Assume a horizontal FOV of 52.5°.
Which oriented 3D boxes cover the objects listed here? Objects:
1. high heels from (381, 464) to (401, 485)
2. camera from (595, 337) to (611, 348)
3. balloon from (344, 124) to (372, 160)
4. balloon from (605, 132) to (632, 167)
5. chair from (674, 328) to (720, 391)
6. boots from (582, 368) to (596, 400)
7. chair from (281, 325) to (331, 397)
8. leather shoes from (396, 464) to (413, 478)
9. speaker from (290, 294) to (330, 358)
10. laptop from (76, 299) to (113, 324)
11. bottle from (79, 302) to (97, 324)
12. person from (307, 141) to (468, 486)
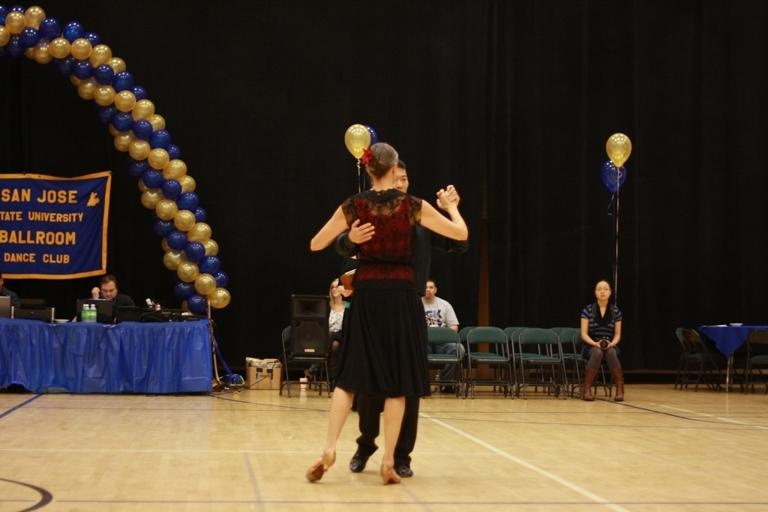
[{"bbox_3d":[0.060,1.929,6.978,0.171,0.179,0.139,0,-7,4],"label":"high heels"},{"bbox_3d":[3.427,1.330,12.096,0.214,0.155,0.158,3,-8,-13],"label":"camera"},{"bbox_3d":[-0.386,-1.700,11.786,0.409,0.615,0.430,0,2,1],"label":"balloon"},{"bbox_3d":[3.961,-1.784,13.178,0.436,0.584,0.441,4,5,43],"label":"balloon"},{"bbox_3d":[5.616,1.792,13.727,0.774,1.009,0.780,-1,-4,31],"label":"chair"},{"bbox_3d":[3.168,1.950,12.015,0.190,0.484,0.375,-2,-8,20],"label":"boots"},{"bbox_3d":[-1.204,1.623,12.263,0.771,1.291,0.999,1,-17,-2],"label":"chair"},{"bbox_3d":[0.194,1.961,7.174,0.081,0.064,0.148,0,-6,-36],"label":"leather shoes"},{"bbox_3d":[-1.150,1.174,11.968,0.643,0.992,0.770,-4,-27,5],"label":"speaker"},{"bbox_3d":[-4.245,0.772,11.484,0.482,0.479,0.349,1,-3,-7],"label":"laptop"},{"bbox_3d":[-4.325,0.820,11.394,0.257,0.381,0.141,0,-6,-4],"label":"bottle"},{"bbox_3d":[0.057,0.450,7.290,1.345,3.030,0.858,0,10,0],"label":"person"}]
